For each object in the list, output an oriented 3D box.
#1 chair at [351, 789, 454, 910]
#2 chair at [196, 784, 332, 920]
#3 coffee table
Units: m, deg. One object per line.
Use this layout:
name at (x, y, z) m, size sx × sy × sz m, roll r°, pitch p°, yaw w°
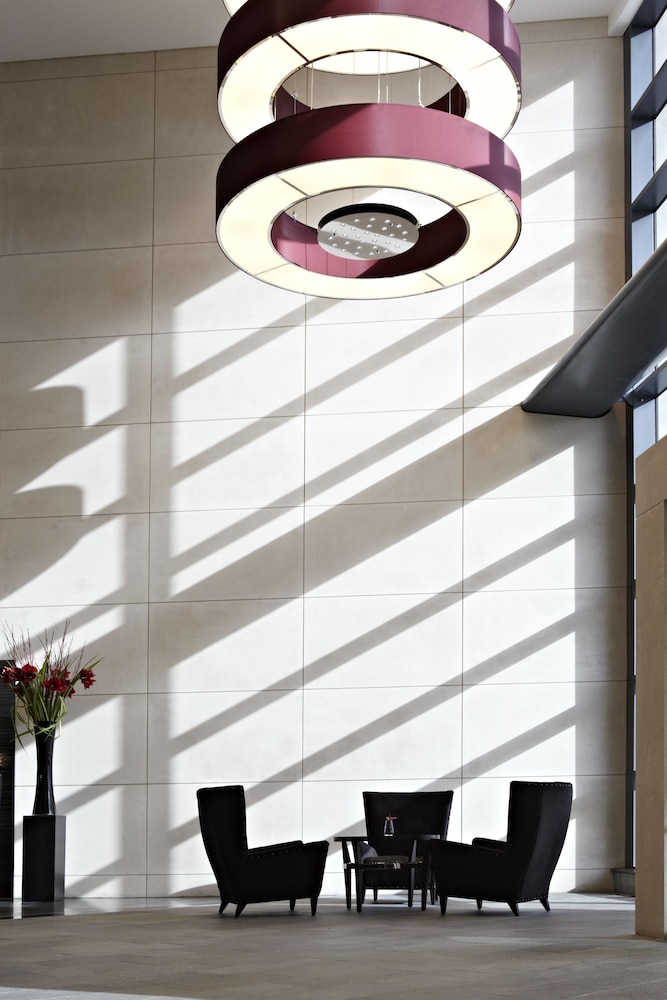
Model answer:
chair at (0.479, 2.554, 15.364) m, size 0.593 × 0.955 × 0.856 m, roll -4°, pitch -34°, yaw 9°
chair at (-0.530, 2.514, 14.493) m, size 0.790 × 1.225 × 0.827 m, roll 2°, pitch -15°, yaw -16°
coffee table at (0.400, 2.746, 15.007) m, size 0.609 × 0.466 × 0.716 m, roll -3°, pitch -30°, yaw 4°
